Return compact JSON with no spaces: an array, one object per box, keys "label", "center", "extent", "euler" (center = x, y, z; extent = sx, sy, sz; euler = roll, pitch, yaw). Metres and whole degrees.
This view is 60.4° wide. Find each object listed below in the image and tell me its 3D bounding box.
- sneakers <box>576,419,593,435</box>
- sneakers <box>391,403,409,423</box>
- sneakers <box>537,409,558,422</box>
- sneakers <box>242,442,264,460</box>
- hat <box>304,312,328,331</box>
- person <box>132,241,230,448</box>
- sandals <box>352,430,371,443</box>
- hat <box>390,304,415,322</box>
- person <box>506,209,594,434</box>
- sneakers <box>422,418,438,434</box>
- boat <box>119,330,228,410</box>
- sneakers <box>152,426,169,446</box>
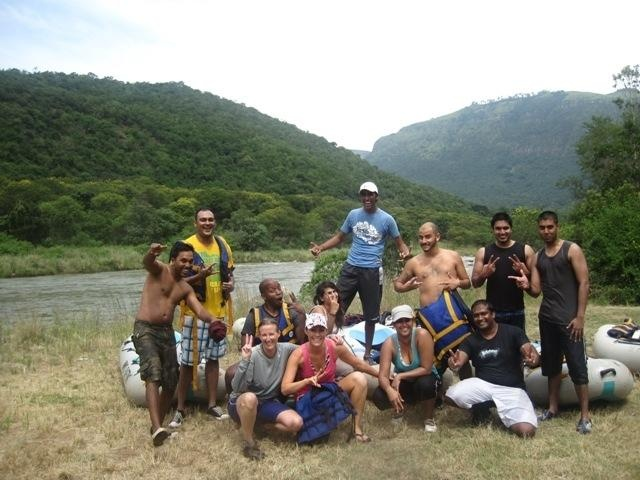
[{"label":"sneakers","center":[3.569,2.510,7.441],"extent":[0.191,0.131,0.305],"euler":[3,10,26]},{"label":"sneakers","center":[1.176,2.514,7.899],"extent":[0.125,0.292,0.406],"euler":[-10,-35,16]},{"label":"sneakers","center":[3.259,2.520,7.859],"extent":[0.306,0.143,0.120],"euler":[1,-10,-16]},{"label":"sneakers","center":[-0.875,2.758,7.199],"extent":[0.276,0.137,0.292],"euler":[-2,9,-9]},{"label":"hat","center":[-0.054,1.104,7.513],"extent":[0.297,0.207,0.253],"euler":[2,9,16]},{"label":"person","center":[-2.037,1.364,7.552],"extent":[0.906,2.756,0.765],"euler":[-7,10,-36]},{"label":"sandals","center":[0.546,2.704,7.533],"extent":[0.109,0.060,0.232],"euler":[2,-8,-34]},{"label":"hat","center":[1.167,1.039,7.920],"extent":[0.236,0.132,0.372],"euler":[-8,-4,3]},{"label":"person","center":[3.371,1.235,7.673],"extent":[0.543,2.622,1.042],"euler":[-8,11,-40]},{"label":"sneakers","center":[1.559,2.612,7.742],"extent":[0.189,0.120,0.265],"euler":[0,9,6]},{"label":"boat","center":[-2.761,2.213,9.756],"extent":[1.535,0.765,2.886],"euler":[0,8,-28]},{"label":"sneakers","center":[-2.093,2.571,7.252],"extent":[0.162,0.353,0.161],"euler":[15,27,-33]}]
